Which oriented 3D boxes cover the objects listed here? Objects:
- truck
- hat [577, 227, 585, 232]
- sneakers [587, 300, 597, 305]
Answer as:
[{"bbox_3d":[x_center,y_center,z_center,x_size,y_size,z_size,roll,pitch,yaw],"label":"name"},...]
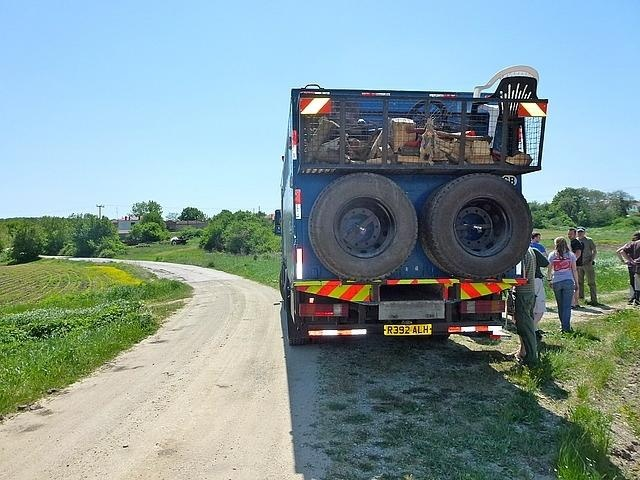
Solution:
[{"bbox_3d":[1.476,-0.468,11.826,3.069,3.589,5.798,1,1,-3],"label":"truck"},{"bbox_3d":[7.750,-0.321,15.805,0.223,0.130,0.338,1,-14,26],"label":"hat"},{"bbox_3d":[7.513,1.736,14.634,0.235,0.130,0.302,2,10,27],"label":"sneakers"}]
